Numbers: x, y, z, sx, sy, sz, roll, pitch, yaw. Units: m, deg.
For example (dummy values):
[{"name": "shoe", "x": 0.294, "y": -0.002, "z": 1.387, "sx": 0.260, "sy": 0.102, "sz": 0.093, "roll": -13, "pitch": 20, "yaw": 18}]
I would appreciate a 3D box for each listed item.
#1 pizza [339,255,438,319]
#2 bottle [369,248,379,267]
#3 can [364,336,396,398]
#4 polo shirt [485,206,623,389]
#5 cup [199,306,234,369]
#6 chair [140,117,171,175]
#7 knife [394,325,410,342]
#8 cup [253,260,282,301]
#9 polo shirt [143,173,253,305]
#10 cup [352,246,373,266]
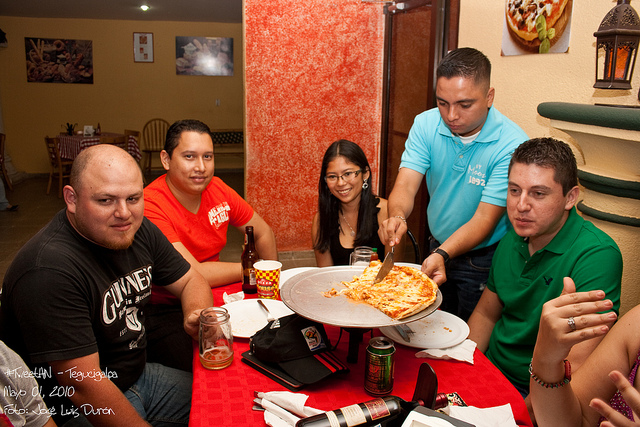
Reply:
[{"name": "pizza", "x": 0.320, "y": 0.318, "z": 1.876, "sx": 0.404, "sy": 0.551, "sz": 0.055, "roll": -7, "pitch": 51, "yaw": 17}, {"name": "bottle", "x": 0.294, "y": 0.236, "z": 2.235, "sx": 0.053, "sy": 0.133, "sz": 0.055, "roll": -1, "pitch": 6, "yaw": 0}, {"name": "can", "x": 0.224, "y": 0.567, "z": 1.606, "sx": 0.106, "sy": 0.216, "sz": 0.103, "roll": 2, "pitch": 7, "yaw": 0}, {"name": "polo shirt", "x": 1.076, "y": 0.376, "z": 2.028, "sx": 0.488, "sy": 0.920, "sz": 0.678, "roll": -6, "pitch": 18, "yaw": -8}, {"name": "cup", "x": -0.434, "y": 0.534, "z": 1.746, "sx": 0.154, "sy": 0.235, "sz": 0.148, "roll": -4, "pitch": -10, "yaw": -1}, {"name": "chair", "x": -3.564, "y": -1.425, "z": 9.305, "sx": 0.647, "sy": 1.286, "sz": 0.600, "roll": -1, "pitch": 6, "yaw": -4}, {"name": "knife", "x": 0.362, "y": 0.523, "z": 1.831, "sx": 0.028, "sy": 0.009, "sz": 0.120, "roll": -16, "pitch": 19, "yaw": 0}, {"name": "cup", "x": -0.267, "y": 0.355, "z": 2.185, "sx": 0.151, "sy": 0.211, "sz": 0.151, "roll": 0, "pitch": 16, "yaw": 0}, {"name": "polo shirt", "x": -0.716, "y": 0.153, "z": 2.447, "sx": 0.355, "sy": 0.633, "sz": 0.796, "roll": 12, "pitch": 26, "yaw": 34}, {"name": "cup", "x": 0.222, "y": 0.217, "z": 2.188, "sx": 0.096, "sy": 0.138, "sz": 0.085, "roll": -1, "pitch": 4, "yaw": 4}]
